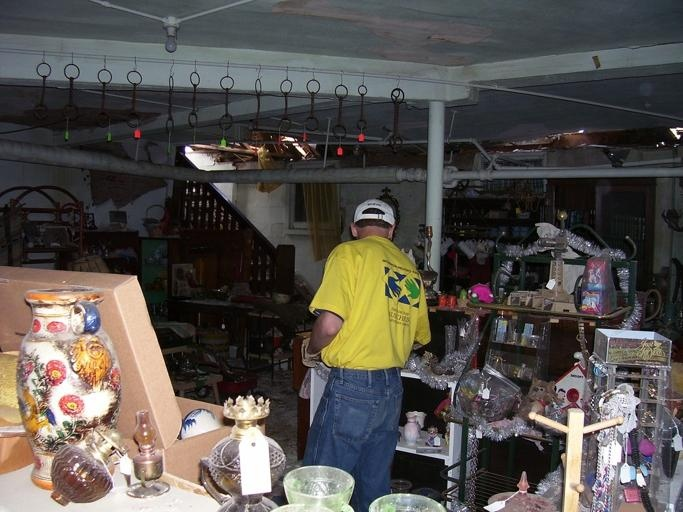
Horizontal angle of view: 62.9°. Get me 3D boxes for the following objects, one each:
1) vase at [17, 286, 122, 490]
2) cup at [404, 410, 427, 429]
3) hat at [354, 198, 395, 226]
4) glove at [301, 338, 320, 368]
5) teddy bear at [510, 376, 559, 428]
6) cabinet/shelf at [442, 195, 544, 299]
[{"bbox_3d":[-0.802,0.388,1.638,0.277,0.577,0.141,2,5,7],"label":"vase"},{"bbox_3d":[0.543,1.180,4.123,0.158,0.126,0.166,-2,1,0],"label":"cup"},{"bbox_3d":[0.211,-0.254,3.346,0.219,0.156,0.305,2,3,12],"label":"hat"},{"bbox_3d":[-0.208,0.584,3.310,0.115,0.137,0.295,2,7,5],"label":"glove"},{"bbox_3d":[1.055,0.758,3.028,0.188,0.271,0.195,12,20,19],"label":"teddy bear"},{"bbox_3d":[2.172,-0.195,7.992,1.588,1.790,0.522,2,-4,20],"label":"cabinet/shelf"}]
